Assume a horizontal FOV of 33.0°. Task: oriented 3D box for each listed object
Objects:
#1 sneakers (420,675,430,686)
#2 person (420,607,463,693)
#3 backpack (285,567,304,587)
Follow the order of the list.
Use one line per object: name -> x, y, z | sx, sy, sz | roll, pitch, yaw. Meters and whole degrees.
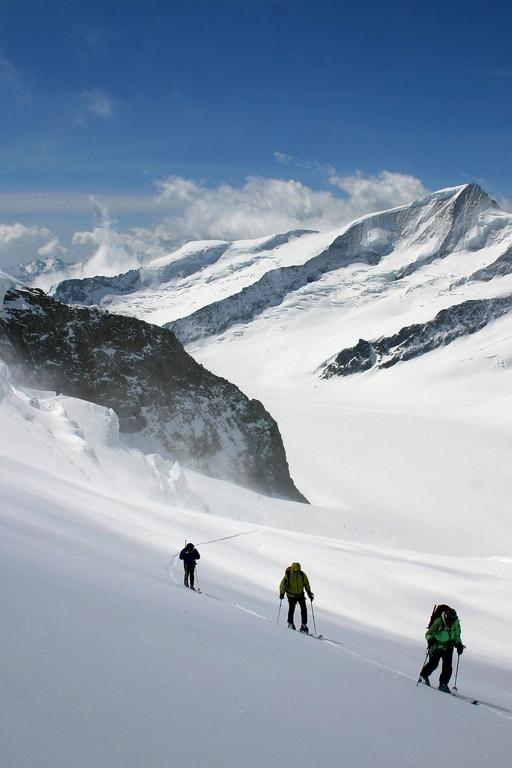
sneakers -> 3.087, 5.465, 15.915 | 0.099, 0.226, 0.336 | -1, -6, 34
person -> 3.498, 4.939, 16.192 | 0.813, 1.545, 0.692 | 6, 1, 17
backpack -> 0.836, 4.109, 18.266 | 0.327, 0.432, 0.442 | 1, -23, -3
